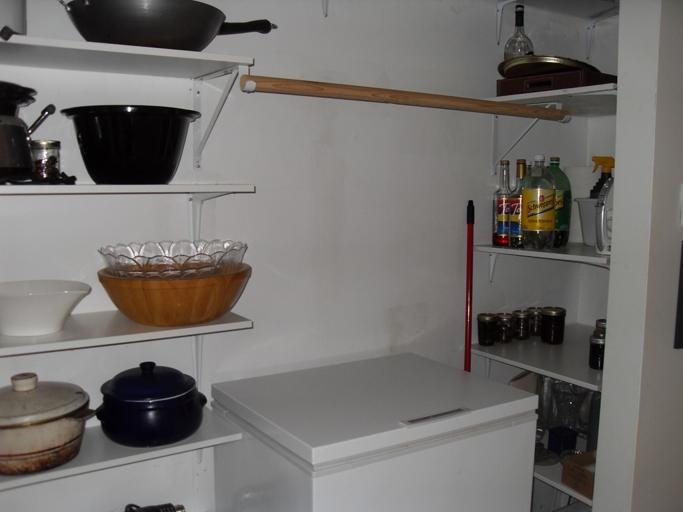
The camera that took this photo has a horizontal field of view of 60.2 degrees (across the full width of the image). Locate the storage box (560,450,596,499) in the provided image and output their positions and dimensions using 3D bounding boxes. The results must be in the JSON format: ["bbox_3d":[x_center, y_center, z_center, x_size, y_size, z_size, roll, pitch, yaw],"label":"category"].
[{"bbox_3d":[0.870,0.788,2.134,0.125,0.078,0.125,-5,8,-38],"label":"storage box"}]

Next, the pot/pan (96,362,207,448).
[{"bbox_3d":[-0.556,0.448,1.728,0.255,0.184,0.275,1,5,-5],"label":"pot/pan"}]

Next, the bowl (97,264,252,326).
[{"bbox_3d":[-0.549,0.133,1.810,0.362,0.131,0.362,-1,-1,0],"label":"bowl"}]

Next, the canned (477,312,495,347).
[{"bbox_3d":[0.627,0.315,2.520,0.083,0.136,0.061,1,8,13],"label":"canned"}]

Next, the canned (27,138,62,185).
[{"bbox_3d":[-0.810,-0.253,1.623,0.113,0.120,0.113,-1,0,-11],"label":"canned"}]

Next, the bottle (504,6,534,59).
[{"bbox_3d":[0.755,-0.942,2.498,0.122,0.266,0.351,2,8,18],"label":"bottle"}]

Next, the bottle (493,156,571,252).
[{"bbox_3d":[0.776,-0.216,2.381,0.299,0.369,0.208,2,8,14],"label":"bottle"}]

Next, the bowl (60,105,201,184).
[{"bbox_3d":[-0.572,-0.300,1.624,0.345,0.208,0.124,-4,9,-24],"label":"bowl"}]
